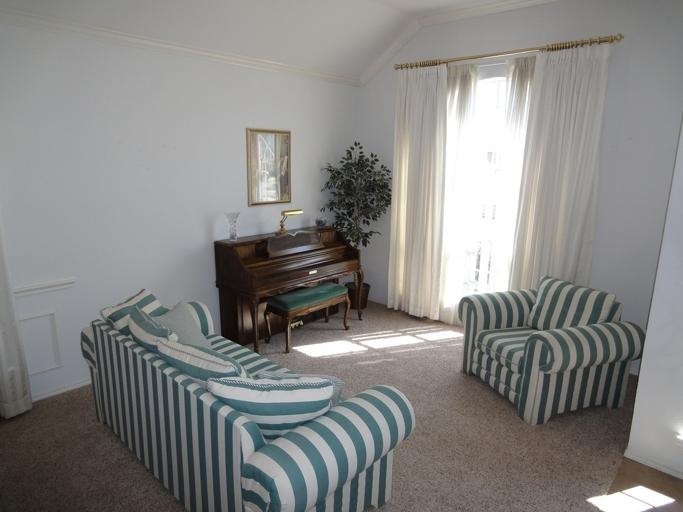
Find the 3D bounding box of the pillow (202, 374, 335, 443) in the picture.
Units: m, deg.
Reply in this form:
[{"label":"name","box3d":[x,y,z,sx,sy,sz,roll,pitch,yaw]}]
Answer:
[{"label":"pillow","box3d":[-0.403,0.890,2.915,0.756,0.357,0.188,1,10,-7]}]

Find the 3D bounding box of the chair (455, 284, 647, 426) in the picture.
[{"label":"chair","box3d":[1.859,0.775,4.543,0.995,1.052,1.388,-4,12,-16]}]

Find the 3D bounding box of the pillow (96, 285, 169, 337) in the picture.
[{"label":"pillow","box3d":[-1.603,0.378,3.719,0.114,0.526,0.490,29,27,6]}]

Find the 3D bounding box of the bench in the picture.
[{"label":"bench","box3d":[-0.358,0.651,5.461,0.388,0.570,0.968,17,21,41]}]

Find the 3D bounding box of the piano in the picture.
[{"label":"piano","box3d":[-0.541,0.311,5.573,0.749,1.195,1.546,17,23,41]}]

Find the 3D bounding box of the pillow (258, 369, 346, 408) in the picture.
[{"label":"pillow","box3d":[-0.208,0.782,3.042,0.368,0.123,0.382,1,0,-38]}]

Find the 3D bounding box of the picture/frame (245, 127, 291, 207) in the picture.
[{"label":"picture/frame","box3d":[-0.835,-1.020,5.462,0.043,1.100,0.761,7,12,41]}]

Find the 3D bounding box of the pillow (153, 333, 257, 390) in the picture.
[{"label":"pillow","box3d":[-0.892,0.633,3.063,0.543,0.222,0.204,15,3,14]}]
